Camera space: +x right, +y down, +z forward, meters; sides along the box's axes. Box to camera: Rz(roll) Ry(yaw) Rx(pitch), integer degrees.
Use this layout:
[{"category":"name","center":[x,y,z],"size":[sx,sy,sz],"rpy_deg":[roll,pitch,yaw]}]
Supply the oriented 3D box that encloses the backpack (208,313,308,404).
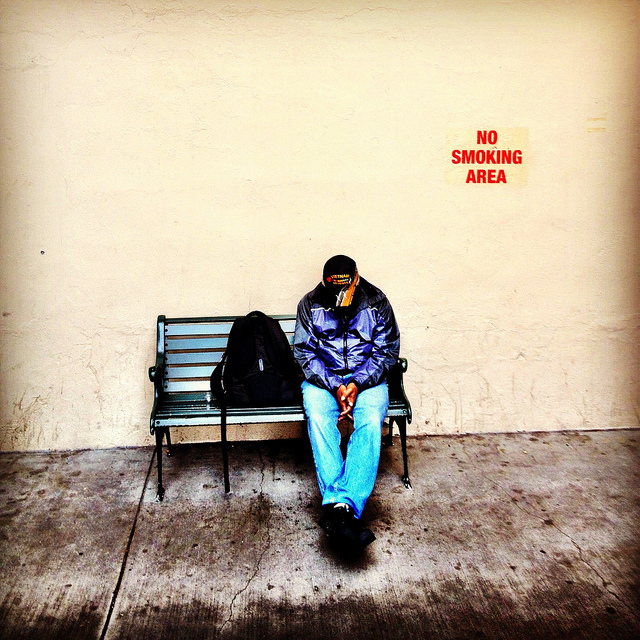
[{"category":"backpack","center":[-0.377,0.203,4.698],"size":[0.632,0.660,0.362],"rpy_deg":[1,27,10]}]

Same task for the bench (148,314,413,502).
[{"category":"bench","center":[-0.238,0.576,4.818],"size":[1.685,1.086,0.705],"rpy_deg":[-1,15,-9]}]

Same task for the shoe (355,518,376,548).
[{"category":"shoe","center":[0.239,1.158,3.918],"size":[0.093,0.108,0.156],"rpy_deg":[-3,16,-6]}]

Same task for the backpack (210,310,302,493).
[{"category":"backpack","center":[-0.428,0.496,4.645],"size":[0.575,1.056,0.333],"rpy_deg":[-10,17,-27]}]

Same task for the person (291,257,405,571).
[{"category":"person","center":[0.186,0.369,4.293],"size":[0.690,1.149,1.902],"rpy_deg":[1,19,-1]}]
